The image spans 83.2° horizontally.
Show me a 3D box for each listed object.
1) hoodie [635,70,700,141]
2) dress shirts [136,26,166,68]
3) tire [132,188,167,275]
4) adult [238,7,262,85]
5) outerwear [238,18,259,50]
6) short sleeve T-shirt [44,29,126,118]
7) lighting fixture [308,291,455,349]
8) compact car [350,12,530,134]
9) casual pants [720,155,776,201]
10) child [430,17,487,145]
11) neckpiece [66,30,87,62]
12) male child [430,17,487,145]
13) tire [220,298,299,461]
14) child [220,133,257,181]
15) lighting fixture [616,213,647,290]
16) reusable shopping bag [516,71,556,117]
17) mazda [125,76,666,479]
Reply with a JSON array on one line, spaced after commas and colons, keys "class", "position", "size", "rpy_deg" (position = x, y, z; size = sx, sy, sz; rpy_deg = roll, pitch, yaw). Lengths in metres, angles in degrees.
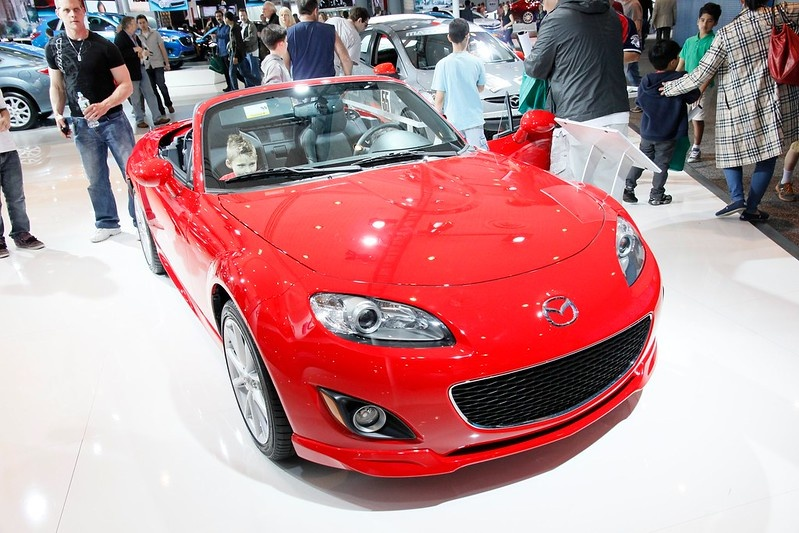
[{"class": "hoodie", "position": [2.578, -1.565, 4.369], "size": [0.429, 0.617, 0.606], "rpy_deg": [-32, 31, -28]}, {"class": "dress shirts", "position": [-5.310, -4.613, 9.573], "size": [0.576, 0.736, 0.358], "rpy_deg": [-6, 26, -4]}, {"class": "tire", "position": [-1.987, -0.261, 3.566], "size": [0.210, 0.607, 0.611], "rpy_deg": [-12, 22, -29]}, {"class": "adult", "position": [-3.597, -5.080, 10.620], "size": [0.566, 1.702, 0.542], "rpy_deg": [-15, 41, -22]}, {"class": "outerwear", "position": [-3.493, -5.264, 10.422], "size": [0.333, 0.612, 0.562], "rpy_deg": [-9, 29, -15]}, {"class": "short sleeve T-shirt", "position": [-2.952, -1.796, 4.259], "size": [0.614, 0.708, 0.384], "rpy_deg": [-14, 30, -23]}, {"class": "lighting fixture", "position": [0.001, 0.239, 1.860], "size": [0.671, 0.191, 0.185], "rpy_deg": [9, -6, -27]}, {"class": "compact car", "position": [0.709, -3.037, 6.600], "size": [1.959, 1.382, 3.179], "rpy_deg": [-19, 32, -28]}, {"class": "casual pants", "position": [3.162, -0.761, 4.145], "size": [0.387, 0.173, 0.741], "rpy_deg": [7, 45, 34]}, {"class": "child", "position": [0.684, -1.795, 4.963], "size": [0.604, 1.692, 0.499], "rpy_deg": [-2, 42, 10]}, {"class": "neckpiece", "position": [-2.969, -1.962, 4.098], "size": [0.124, 0.170, 0.043], "rpy_deg": [4, 13, 3]}, {"class": "male child", "position": [0.672, -1.804, 4.950], "size": [0.610, 1.690, 0.497], "rpy_deg": [-10, 42, 2]}, {"class": "tire", "position": [-0.636, 0.515, 2.053], "size": [0.200, 0.578, 0.580], "rpy_deg": [-14, 45, -23]}, {"class": "child", "position": [-1.008, -0.662, 2.775], "size": [0.256, 0.294, 0.209], "rpy_deg": [-18, 33, -35]}, {"class": "lighting fixture", "position": [1.090, -0.070, 2.175], "size": [0.187, 0.325, 0.088], "rpy_deg": [-8, -11, -36]}, {"class": "reusable shopping bag", "position": [1.243, -1.546, 4.052], "size": [0.199, 0.115, 0.418], "rpy_deg": [10, 72, 6]}, {"class": "mazda", "position": [-0.512, -0.526, 3.405], "size": [2.516, 1.537, 4.263], "rpy_deg": [-17, 33, -33]}]
